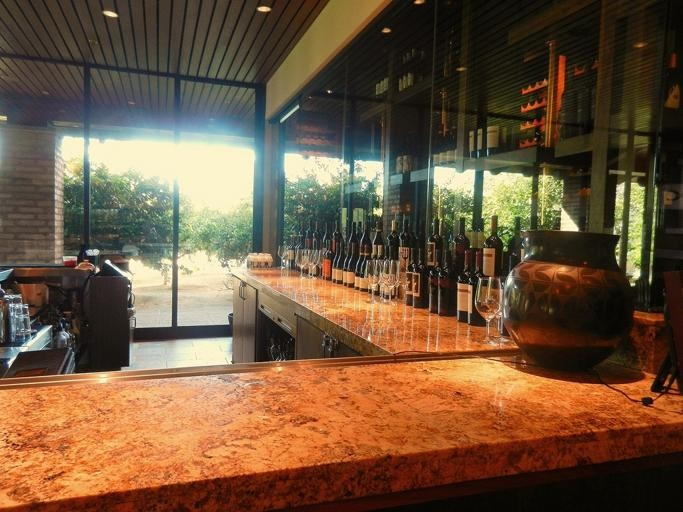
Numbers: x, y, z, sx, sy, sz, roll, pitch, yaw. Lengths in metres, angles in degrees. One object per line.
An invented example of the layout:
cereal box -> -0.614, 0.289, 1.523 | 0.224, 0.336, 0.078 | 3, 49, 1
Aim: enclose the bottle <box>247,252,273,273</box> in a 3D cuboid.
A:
bottle -> -0.840, 0.069, 5.031 | 0.173, 0.129, 0.183 | 1, 5, 0
